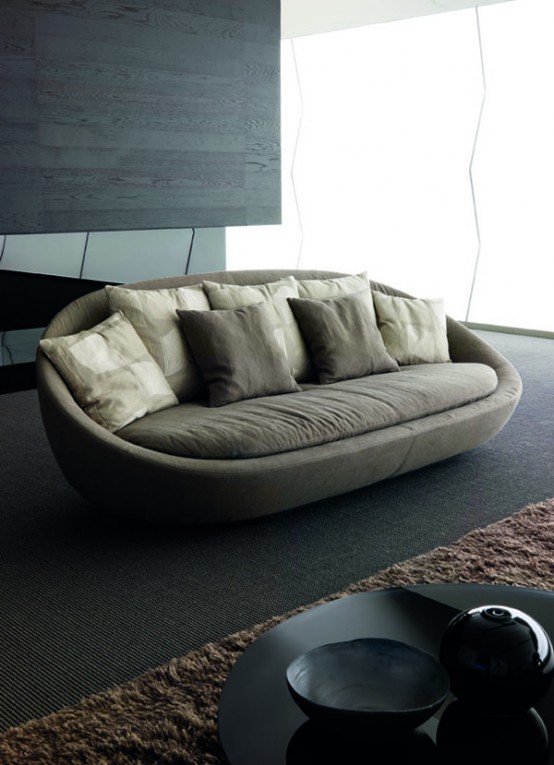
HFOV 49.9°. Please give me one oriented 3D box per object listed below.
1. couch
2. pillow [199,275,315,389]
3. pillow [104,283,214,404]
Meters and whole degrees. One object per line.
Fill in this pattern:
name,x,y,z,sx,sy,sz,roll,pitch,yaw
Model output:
couch,0.155,-0.061,2.843,2.404,0.904,1.517,-4,13,-21
pillow,-0.156,-0.147,2.706,0.267,0.420,0.515,13,18,43
pillow,-0.506,-0.146,2.508,0.236,0.424,0.475,6,11,39
